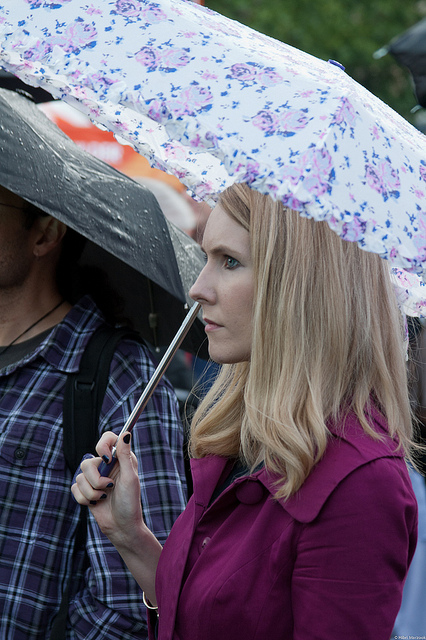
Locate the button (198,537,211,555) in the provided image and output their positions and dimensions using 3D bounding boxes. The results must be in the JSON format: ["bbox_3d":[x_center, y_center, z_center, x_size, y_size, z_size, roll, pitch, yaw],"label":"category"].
[{"bbox_3d":[-0.024,0.551,1.847,0.009,0.034,0.036,17,6,-28],"label":"button"}]

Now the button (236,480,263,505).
[{"bbox_3d":[0.084,0.409,1.783,0.062,0.055,0.015,1,4,27],"label":"button"}]

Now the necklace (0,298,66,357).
[{"bbox_3d":[-0.651,0.027,2.663,0.318,0.015,0.043,-40,80,-19],"label":"necklace"}]
